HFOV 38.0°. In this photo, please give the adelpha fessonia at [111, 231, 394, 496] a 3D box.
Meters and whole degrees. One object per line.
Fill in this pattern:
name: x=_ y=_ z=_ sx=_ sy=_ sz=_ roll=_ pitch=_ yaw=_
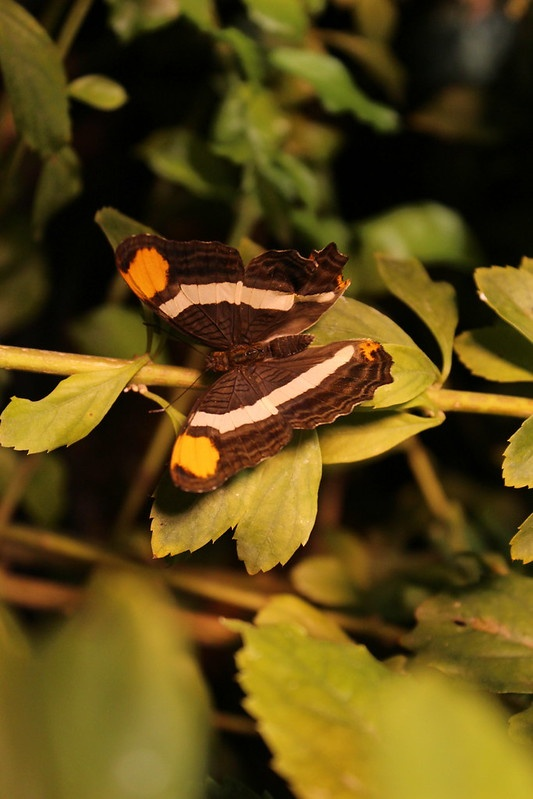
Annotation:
adelpha fessonia: x=-0.004 y=-0.073 z=1.258 sx=0.385 sy=0.253 sz=0.413 roll=-13 pitch=56 yaw=-7
